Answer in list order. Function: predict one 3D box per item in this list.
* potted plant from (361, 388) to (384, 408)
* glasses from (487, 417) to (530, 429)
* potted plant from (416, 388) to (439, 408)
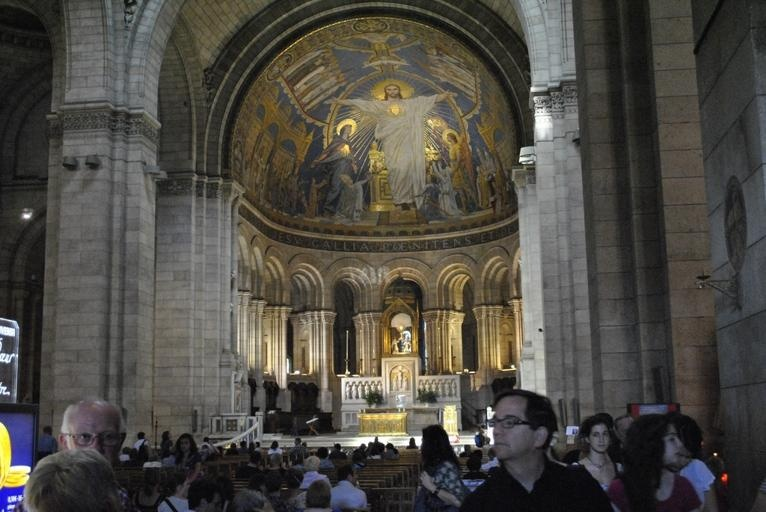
[{"bbox_3d":[-0.408,6.134,45.876,0.761,0.692,0.730,3,-7,-24],"label":"potted plant"},{"bbox_3d":[1.510,1.969,12.634,0.232,0.064,0.225,23,-31,-33],"label":"glasses"},{"bbox_3d":[1.922,5.948,44.754,0.721,0.583,0.696,4,-25,-6],"label":"potted plant"}]
